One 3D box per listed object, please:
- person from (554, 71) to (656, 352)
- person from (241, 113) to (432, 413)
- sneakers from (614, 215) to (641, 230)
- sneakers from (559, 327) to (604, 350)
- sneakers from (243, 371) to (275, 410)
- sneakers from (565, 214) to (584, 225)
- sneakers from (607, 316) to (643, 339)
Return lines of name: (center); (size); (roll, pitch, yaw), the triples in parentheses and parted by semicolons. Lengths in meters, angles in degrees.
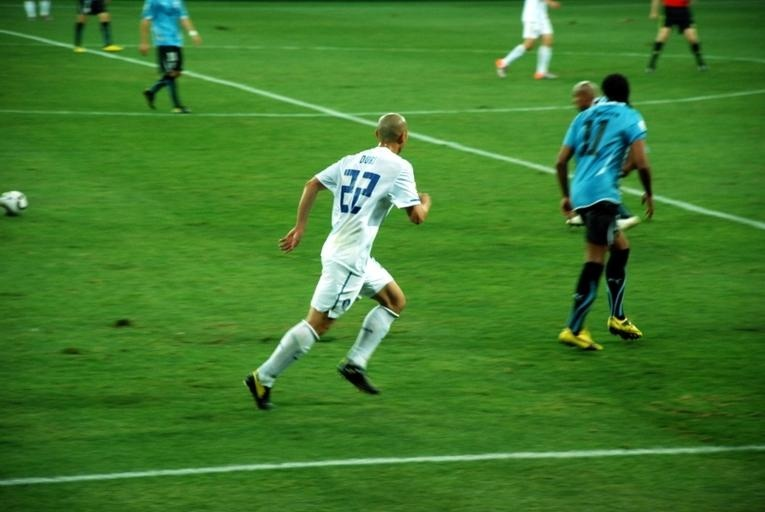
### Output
person: (2.108, -0.422, 9.909); (0.853, 2.545, 1.009); (4, 17, -11)
person: (-0.309, 0.039, 8.959); (1.134, 2.497, 1.208); (13, 18, 19)
sneakers: (2.273, -0.302, 9.691); (0.119, 0.074, 0.198); (-35, 11, -31)
sneakers: (1.836, 0.775, 9.851); (0.417, 0.115, 0.182); (9, 3, -3)
sneakers: (-1.035, 1.147, 8.914); (0.209, 0.376, 0.138); (-28, 24, 6)
sneakers: (1.827, -0.331, 10.016); (0.147, 0.114, 0.100); (-18, 42, -19)
sneakers: (2.279, 0.670, 9.982); (0.428, 0.155, 0.151); (13, 26, 22)
